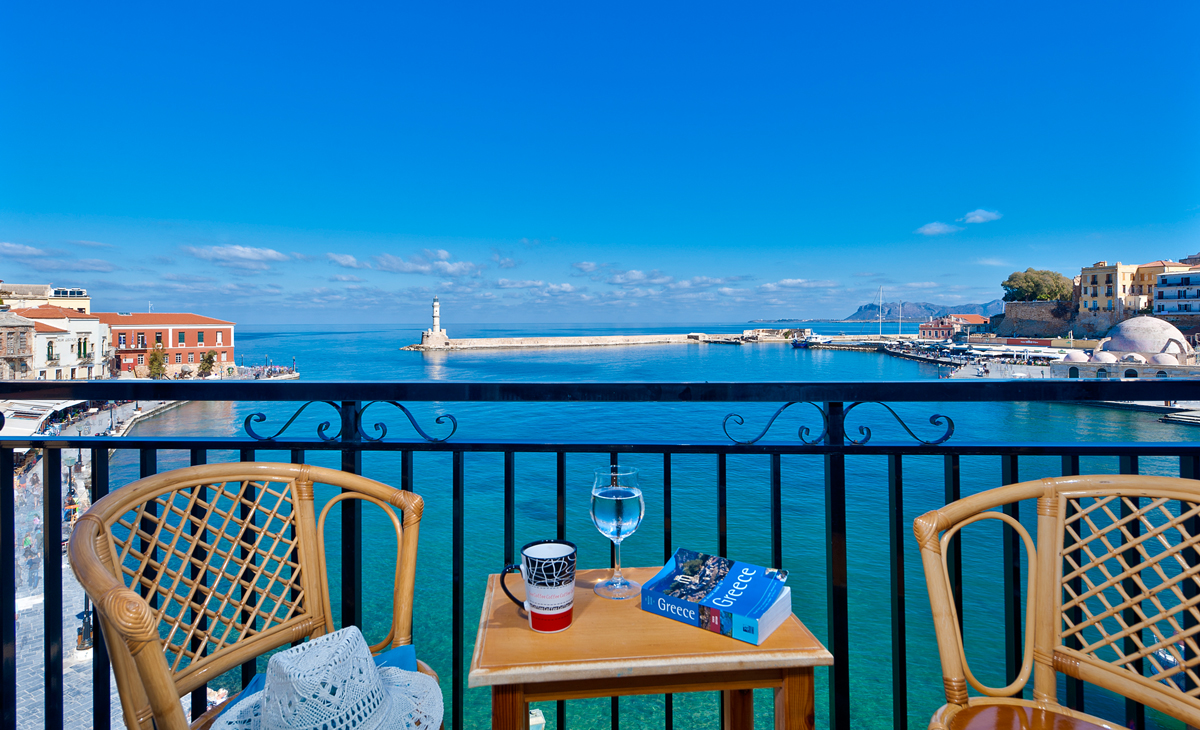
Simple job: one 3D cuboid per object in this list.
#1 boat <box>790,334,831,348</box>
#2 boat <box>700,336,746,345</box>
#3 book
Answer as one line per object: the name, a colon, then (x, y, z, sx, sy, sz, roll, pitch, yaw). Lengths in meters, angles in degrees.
boat: (26.408, -3.310, 108.829, 3.673, 1.146, 2.617, -1, 0, -40)
boat: (17.534, -3.540, 123.067, 5.645, 0.646, 5.528, -1, 7, 4)
book: (0.513, 1.004, 3.861, 0.577, 0.149, 0.398, 6, 12, 31)
